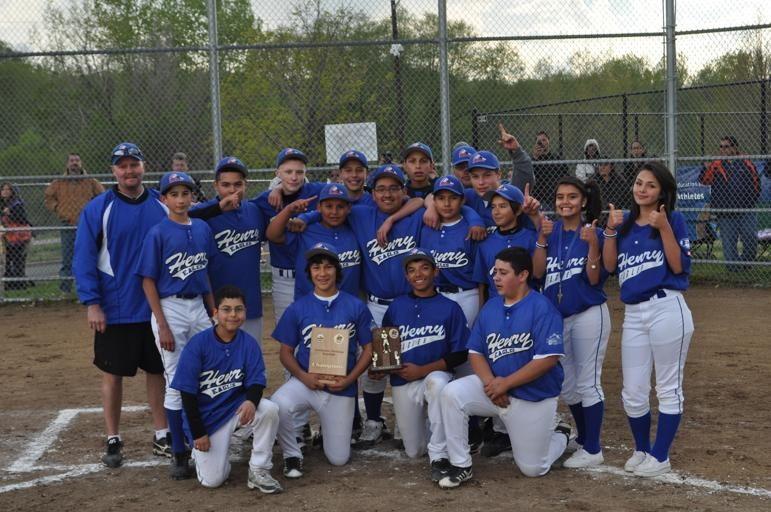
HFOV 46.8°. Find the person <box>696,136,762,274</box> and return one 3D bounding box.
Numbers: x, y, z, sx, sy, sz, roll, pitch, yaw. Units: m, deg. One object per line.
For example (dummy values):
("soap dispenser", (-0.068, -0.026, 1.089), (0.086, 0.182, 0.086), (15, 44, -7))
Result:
("person", (5.716, -0.791, 14.740), (0.867, 2.289, 0.915), (4, 15, 22))

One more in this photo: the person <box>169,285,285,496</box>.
("person", (-1.605, 1.497, 8.928), (1.026, 1.570, 0.726), (-2, 14, 1))

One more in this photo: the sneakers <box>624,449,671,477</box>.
("sneakers", (2.604, 2.061, 8.901), (0.366, 0.157, 0.227), (2, -3, 0))

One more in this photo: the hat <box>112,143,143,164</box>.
("hat", (-2.761, -1.084, 9.493), (0.295, 0.201, 0.416), (-5, 14, -14))

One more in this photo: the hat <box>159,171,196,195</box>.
("hat", (-2.242, -0.772, 9.463), (0.332, 0.256, 0.468), (-2, 1, -24))

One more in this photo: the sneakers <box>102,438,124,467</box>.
("sneakers", (-2.820, 2.039, 9.225), (0.143, 0.214, 0.336), (0, 2, -7))

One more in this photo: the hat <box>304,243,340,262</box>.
("hat", (-0.675, -0.030, 9.426), (0.349, 0.170, 0.240), (-4, 14, -7))
